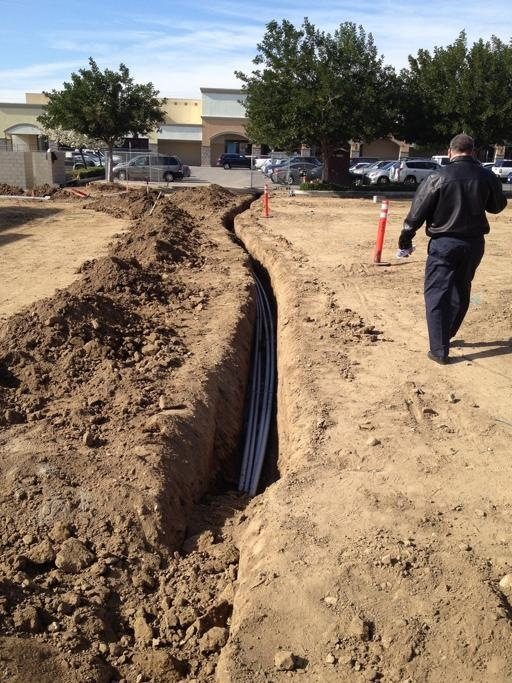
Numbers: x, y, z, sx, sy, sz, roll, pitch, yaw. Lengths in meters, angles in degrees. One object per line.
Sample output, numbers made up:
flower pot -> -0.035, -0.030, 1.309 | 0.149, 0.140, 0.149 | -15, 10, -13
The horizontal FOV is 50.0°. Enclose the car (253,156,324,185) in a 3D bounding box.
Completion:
car -> 1.946, -9.060, 29.188 | 2.862, 1.444, 3.894 | 1, 17, 0

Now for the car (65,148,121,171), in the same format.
car -> -12.118, -12.994, 39.228 | 2.552, 1.310, 9.420 | -4, 18, -16

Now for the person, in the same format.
person -> 1.674, -0.760, 4.799 | 0.818, 1.968, 0.429 | 5, 18, 11

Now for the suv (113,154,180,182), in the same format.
suv -> -5.446, -8.906, 28.205 | 3.293, 1.353, 0.955 | 2, 17, 3

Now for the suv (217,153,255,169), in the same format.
suv -> -1.639, -14.304, 43.728 | 2.549, 1.138, 1.358 | 3, 17, 5
